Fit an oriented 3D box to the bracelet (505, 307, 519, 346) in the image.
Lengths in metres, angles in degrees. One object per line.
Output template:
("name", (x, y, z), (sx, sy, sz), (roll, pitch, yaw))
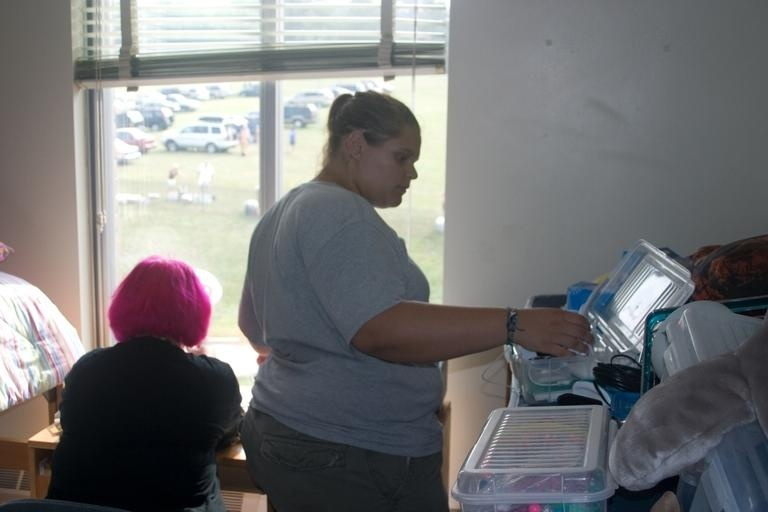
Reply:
("bracelet", (0.306, 0.168, 1.492), (0.027, 0.066, 0.055), (5, 2, -13))
